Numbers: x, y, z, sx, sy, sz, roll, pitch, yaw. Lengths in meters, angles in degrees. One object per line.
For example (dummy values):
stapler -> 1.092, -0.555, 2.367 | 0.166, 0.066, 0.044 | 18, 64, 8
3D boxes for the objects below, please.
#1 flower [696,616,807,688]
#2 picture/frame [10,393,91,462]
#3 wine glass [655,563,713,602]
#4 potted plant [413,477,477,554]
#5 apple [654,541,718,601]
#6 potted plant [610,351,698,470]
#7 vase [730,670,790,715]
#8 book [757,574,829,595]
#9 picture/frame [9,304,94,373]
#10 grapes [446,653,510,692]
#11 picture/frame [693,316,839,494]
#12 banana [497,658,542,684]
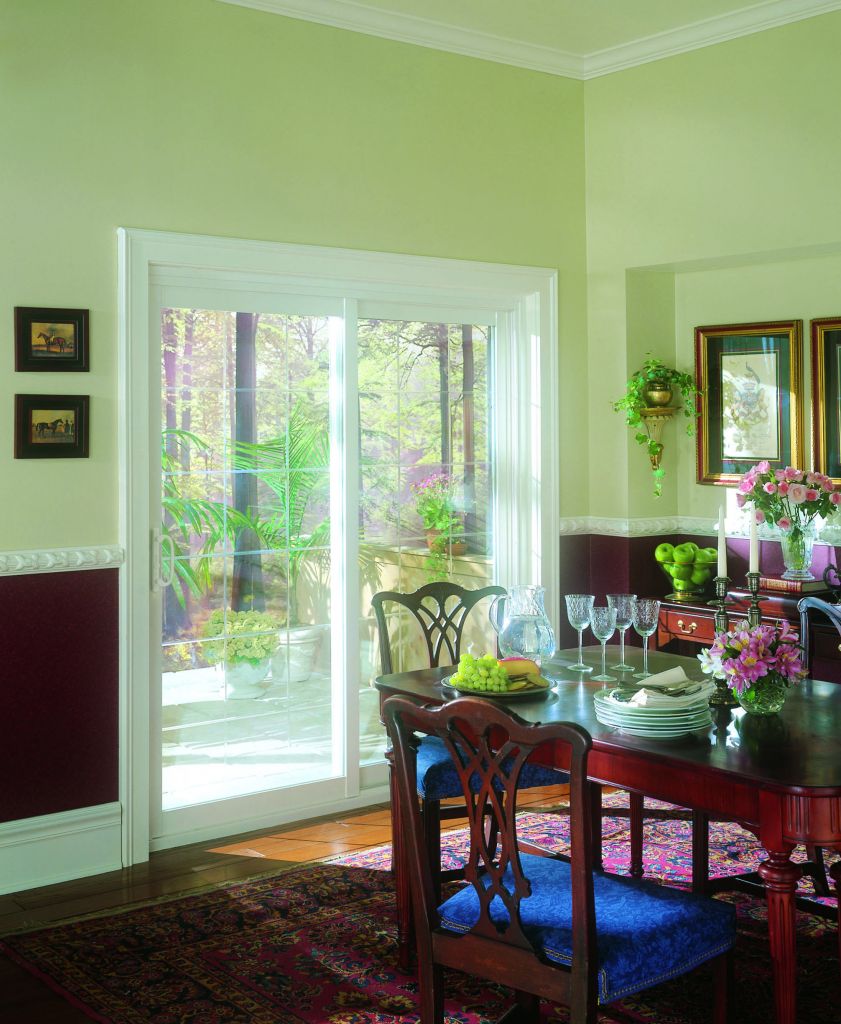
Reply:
flower -> 0.730, 0.321, 1.999 | 0.191, 0.121, 0.184 | -19, 14, -29
picture/frame -> -1.255, -0.290, 3.004 | 0.270, 0.231, 0.019 | -2, 1, -37
wine glass -> 1.251, 0.332, 4.198 | 0.181, 0.136, 0.181 | -2, -6, 28
potted plant -> 0.120, 0.029, 4.224 | 0.342, 0.416, 0.331 | 1, 2, 41
apple -> 1.236, 0.283, 4.166 | 0.287, 0.239, 0.278 | 0, -4, 0
potted plant -> 1.149, -0.482, 4.303 | 0.423, 0.543, 0.245 | 1, -3, -35
vase -> 0.746, 0.398, 2.020 | 0.120, 0.100, 0.114 | -5, 1, -36
book -> 1.536, 0.303, 3.730 | 0.235, 0.047, 0.221 | 0, 0, -31
picture/frame -> -1.250, -0.588, 2.997 | 0.281, 0.213, 0.019 | -3, 6, -39
grapes -> 0.172, 0.405, 2.277 | 0.111, 0.068, 0.111 | 0, 0, 33
picture/frame -> 1.596, -0.502, 4.044 | 0.039, 0.662, 0.949 | -2, 2, -36
banana -> 0.257, 0.407, 2.281 | 0.093, 0.044, 0.051 | 5, 0, -3
